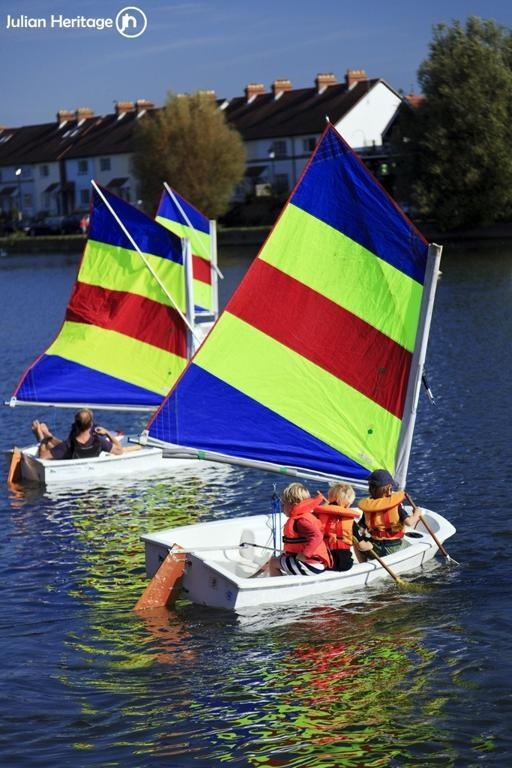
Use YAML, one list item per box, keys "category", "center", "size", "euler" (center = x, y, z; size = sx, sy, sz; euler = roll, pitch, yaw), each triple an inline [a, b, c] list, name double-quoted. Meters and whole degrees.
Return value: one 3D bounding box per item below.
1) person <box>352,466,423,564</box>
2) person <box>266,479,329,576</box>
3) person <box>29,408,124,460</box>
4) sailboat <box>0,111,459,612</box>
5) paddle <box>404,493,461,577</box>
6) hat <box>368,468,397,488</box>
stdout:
- category: "person"
  center: [1.246, 1.290, 10.338]
  size: [0.677, 1.042, 0.644]
  euler: [7, 42, 18]
- category: "person"
  center: [0.405, 1.383, 9.782]
  size: [0.645, 0.896, 0.514]
  euler: [3, 6, 22]
- category: "person"
  center: [-2.522, 0.644, 15.099]
  size: [0.741, 0.570, 1.055]
  euler: [0, 20, -22]
- category: "sailboat"
  center: [0.435, -0.211, 10.084]
  size: [2.695, 4.339, 1.882]
  euler: [-3, 11, 5]
- category: "paddle"
  center: [1.827, 1.594, 11.110]
  size: [0.210, 0.221, 1.154]
  euler: [-12, 44, -28]
- category: "hat"
  center: [1.168, 0.866, 9.962]
  size: [0.231, 0.169, 0.162]
  euler: [-4, 11, -7]
